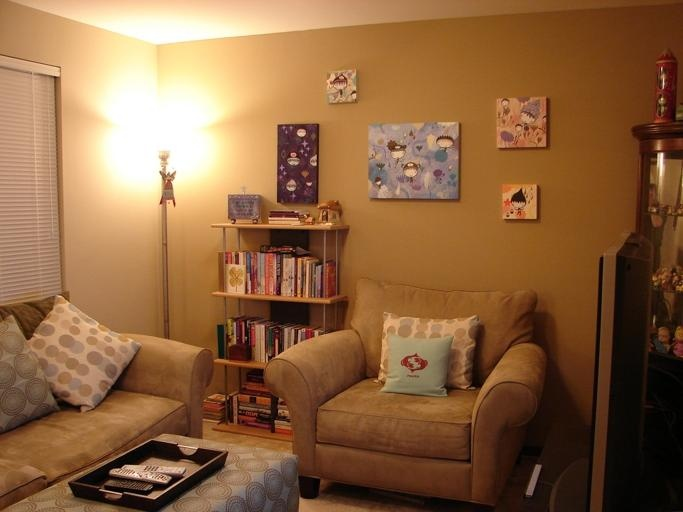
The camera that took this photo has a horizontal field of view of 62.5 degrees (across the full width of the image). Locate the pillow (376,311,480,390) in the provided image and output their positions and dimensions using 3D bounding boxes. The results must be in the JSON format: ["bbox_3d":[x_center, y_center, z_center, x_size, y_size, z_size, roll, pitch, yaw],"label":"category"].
[{"bbox_3d":[0.581,0.628,3.653,0.457,0.348,0.164,1,-4,23],"label":"pillow"}]

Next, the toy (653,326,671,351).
[{"bbox_3d":[1.769,0.463,3.105,0.153,0.130,0.070,-3,5,-36],"label":"toy"}]

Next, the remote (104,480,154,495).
[{"bbox_3d":[-0.900,0.982,2.381,0.137,0.031,0.040,2,5,13],"label":"remote"}]

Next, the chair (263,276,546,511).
[{"bbox_3d":[0.550,0.783,3.740,1.707,1.319,1.280,0,0,23],"label":"chair"}]
